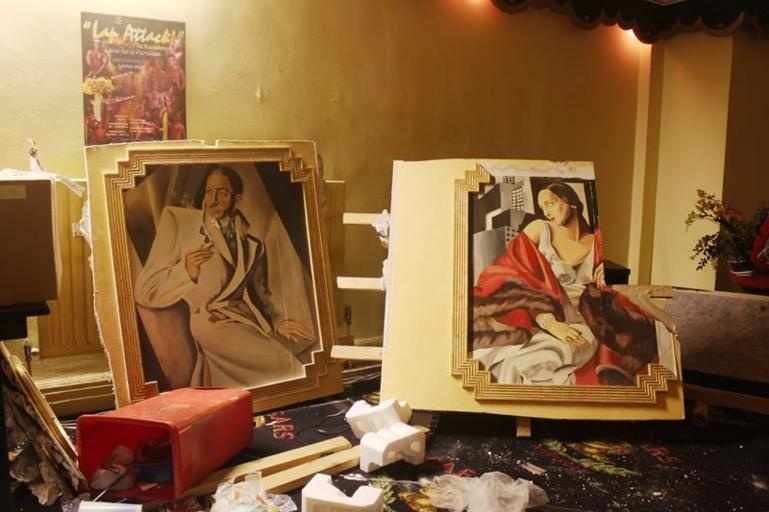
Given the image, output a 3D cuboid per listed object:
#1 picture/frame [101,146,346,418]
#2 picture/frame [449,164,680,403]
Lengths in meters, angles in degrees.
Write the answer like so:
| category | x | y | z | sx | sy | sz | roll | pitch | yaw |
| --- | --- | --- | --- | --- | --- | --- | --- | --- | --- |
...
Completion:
| category | x | y | z | sx | sy | sz | roll | pitch | yaw |
| --- | --- | --- | --- | --- | --- | --- | --- | --- | --- |
| picture/frame | -0.990 | 0.169 | 3.311 | 1.387 | 1.607 | 0.108 | -7 | 0 | -19 |
| picture/frame | 1.011 | 0.167 | 3.309 | 1.492 | 1.797 | 0.108 | 1 | -13 | -6 |
